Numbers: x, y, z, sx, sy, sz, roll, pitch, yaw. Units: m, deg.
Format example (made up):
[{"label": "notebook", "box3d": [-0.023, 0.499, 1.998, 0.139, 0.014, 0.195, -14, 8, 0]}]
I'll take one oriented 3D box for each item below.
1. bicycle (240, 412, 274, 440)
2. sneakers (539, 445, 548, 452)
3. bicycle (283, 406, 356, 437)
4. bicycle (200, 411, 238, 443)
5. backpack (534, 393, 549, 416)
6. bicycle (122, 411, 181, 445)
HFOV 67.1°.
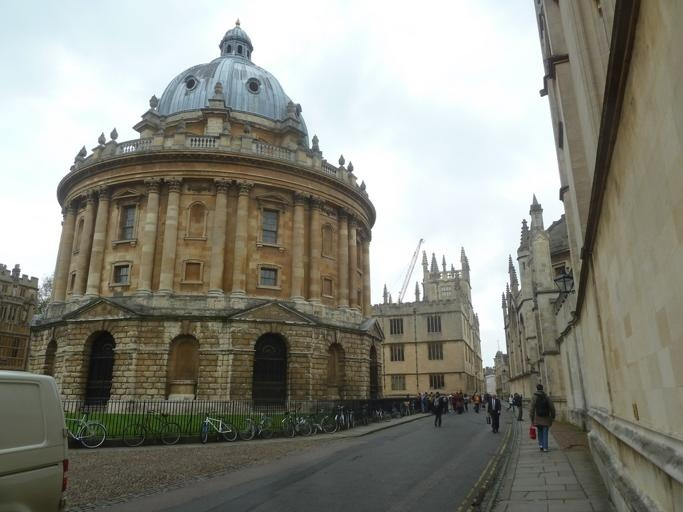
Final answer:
[{"label": "bicycle", "box3d": [-3.755, 7.499, 22.715, 0.672, 0.970, 1.878, -8, -15, 29]}, {"label": "sneakers", "box3d": [6.105, 5.826, 15.572, 0.107, 0.145, 0.339, -1, -28, 9]}, {"label": "bicycle", "box3d": [-1.095, 8.191, 25.695, 1.260, 1.122, 5.482, -7, -15, 26]}, {"label": "bicycle", "box3d": [-4.981, 7.126, 21.217, 1.688, 1.064, 0.843, 25, -44, -38]}, {"label": "backpack", "box3d": [6.086, 4.487, 15.627, 0.467, 0.691, 0.351, -6, -14, 22]}, {"label": "bicycle", "box3d": [-7.438, 6.751, 20.226, 2.147, 1.154, 1.419, 5, -14, -23]}]
